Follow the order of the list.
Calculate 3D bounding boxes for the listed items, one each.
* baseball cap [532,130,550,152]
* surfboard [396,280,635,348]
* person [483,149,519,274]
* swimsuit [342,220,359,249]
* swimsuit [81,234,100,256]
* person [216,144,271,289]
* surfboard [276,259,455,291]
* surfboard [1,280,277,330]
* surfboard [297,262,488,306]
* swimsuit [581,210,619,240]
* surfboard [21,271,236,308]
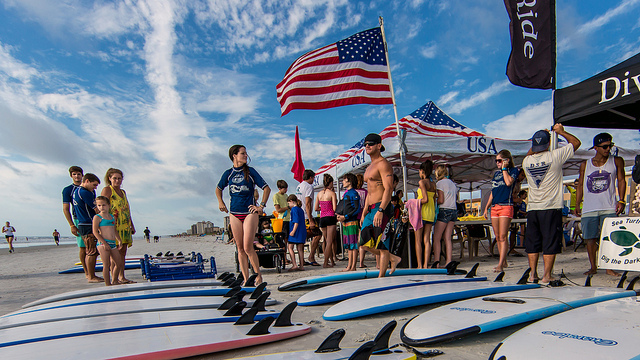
[{"bbox_3d":[4.369,-0.798,7.837,0.323,0.439,0.288,-5,-5,27],"label":"baseball cap"},{"bbox_3d":[2.951,2.095,5.985,3.232,0.218,0.660,-1,-9,-26],"label":"surfboard"},{"bbox_3d":[4.131,0.698,8.984,0.528,2.806,0.656,0,-6,-33],"label":"person"},{"bbox_3d":[0.746,1.361,9.710,0.411,0.711,0.426,-4,-5,9],"label":"swimsuit"},{"bbox_3d":[-5.218,1.506,9.018,0.274,0.510,0.587,2,-6,-43],"label":"swimsuit"},{"bbox_3d":[-1.547,0.659,8.121,1.021,2.772,0.381,-2,-5,-7],"label":"person"},{"bbox_3d":[0.974,2.055,8.389,4.334,0.419,0.815,0,-10,-22],"label":"surfboard"},{"bbox_3d":[-2.961,2.177,6.734,2.662,0.335,0.629,2,-7,-35],"label":"surfboard"},{"bbox_3d":[1.418,2.024,7.529,3.966,0.413,0.535,4,-6,-34],"label":"surfboard"},{"bbox_3d":[5.735,0.915,8.075,0.299,0.457,0.498,31,-31,-19],"label":"swimsuit"},{"bbox_3d":[-3.718,2.210,7.840,3.467,0.411,0.469,-3,-4,-23],"label":"surfboard"}]
